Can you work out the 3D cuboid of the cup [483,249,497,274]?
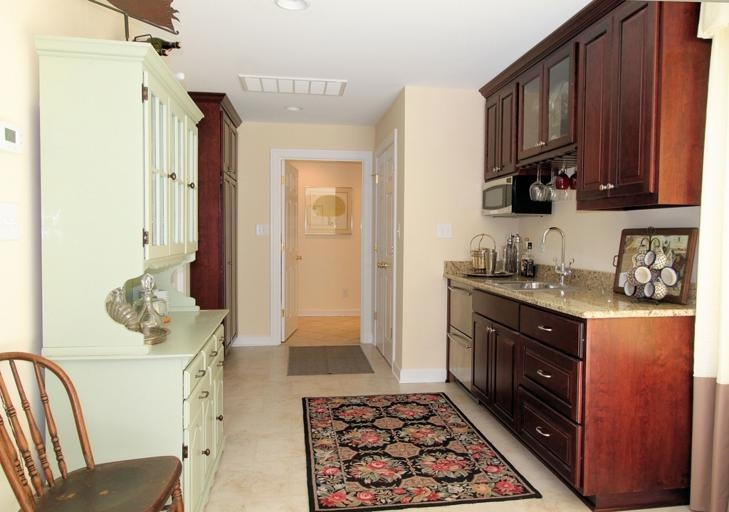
[{"bbox_3d":[1.070,0.039,4.386,0.082,0.204,0.117,5,9,24],"label":"cup"}]

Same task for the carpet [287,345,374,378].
[{"bbox_3d":[-0.386,1.058,5.288,0.820,0.050,1.063,0,7,-9],"label":"carpet"}]

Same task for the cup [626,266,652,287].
[{"bbox_3d":[1.646,0.117,3.077,0.094,0.100,0.080,33,7,31],"label":"cup"}]

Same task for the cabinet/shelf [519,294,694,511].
[{"bbox_3d":[1.520,0.859,3.651,0.996,1.817,1.031,1,-1,-9],"label":"cabinet/shelf"}]

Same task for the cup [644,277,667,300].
[{"bbox_3d":[1.682,0.195,2.981,0.097,0.119,0.107,7,-23,3],"label":"cup"}]

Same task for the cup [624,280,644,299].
[{"bbox_3d":[1.625,0.201,3.112,0.102,0.101,0.066,11,1,0],"label":"cup"}]

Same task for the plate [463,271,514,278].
[{"bbox_3d":[1.066,0.157,4.344,0.430,0.034,0.248,1,7,0],"label":"plate"}]

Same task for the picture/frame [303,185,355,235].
[{"bbox_3d":[-0.562,-0.675,7.461,0.772,0.728,0.033,0,7,-5],"label":"picture/frame"}]

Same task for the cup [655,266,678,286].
[{"bbox_3d":[1.740,0.123,2.954,0.098,0.116,0.067,6,10,30],"label":"cup"}]

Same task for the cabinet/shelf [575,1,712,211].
[{"bbox_3d":[1.595,-0.876,3.029,0.318,1.200,0.740,-5,10,-33],"label":"cabinet/shelf"}]

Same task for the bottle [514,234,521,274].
[{"bbox_3d":[1.363,-0.030,4.614,0.078,0.328,0.299,3,8,17],"label":"bottle"}]

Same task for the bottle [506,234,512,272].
[{"bbox_3d":[1.276,-0.023,4.567,0.060,0.303,0.105,3,9,13],"label":"bottle"}]
